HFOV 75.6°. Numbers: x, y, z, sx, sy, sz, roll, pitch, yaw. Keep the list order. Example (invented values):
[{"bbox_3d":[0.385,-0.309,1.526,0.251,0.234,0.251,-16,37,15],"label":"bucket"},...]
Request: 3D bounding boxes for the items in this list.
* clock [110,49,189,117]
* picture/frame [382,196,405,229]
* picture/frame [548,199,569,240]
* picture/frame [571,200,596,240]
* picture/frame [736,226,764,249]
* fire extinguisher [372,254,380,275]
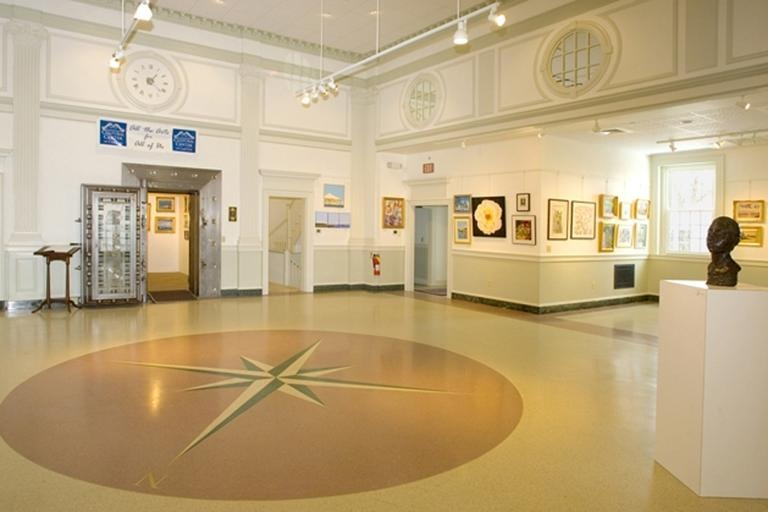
[{"bbox_3d":[-5.706,-4.188,11.871,1.471,1.478,0.171,15,-8,-35],"label":"clock"},{"bbox_3d":[0.226,-1.304,14.681,0.918,1.121,0.079,0,4,-33],"label":"picture/frame"},{"bbox_3d":[4.112,-0.857,11.746,0.807,0.968,0.114,-4,9,-35],"label":"picture/frame"},{"bbox_3d":[4.855,-0.900,12.204,0.855,1.001,0.038,-5,6,-34],"label":"picture/frame"},{"bbox_3d":[8.164,-0.429,11.041,0.030,0.442,0.423,-1,17,-32],"label":"picture/frame"},{"bbox_3d":[-0.243,0.248,14.459,0.250,0.637,0.215,1,7,-3],"label":"fire extinguisher"}]
